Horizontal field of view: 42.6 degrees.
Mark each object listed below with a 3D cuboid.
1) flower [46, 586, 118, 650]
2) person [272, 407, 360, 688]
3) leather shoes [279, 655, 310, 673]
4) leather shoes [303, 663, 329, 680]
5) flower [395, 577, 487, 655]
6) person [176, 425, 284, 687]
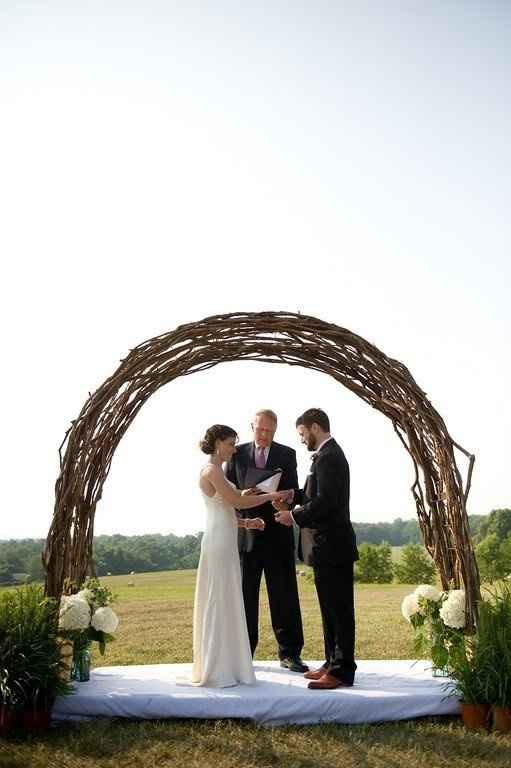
[{"bbox_3d":[-1.207,1.667,4.632,0.351,0.395,0.391,1,-39,11],"label":"flower"},{"bbox_3d":[0.505,1.117,4.708,0.445,1.946,0.447,-11,-18,24],"label":"person"},{"bbox_3d":[0.315,2.184,5.123,0.100,0.111,0.244,11,-24,-26],"label":"leather shoes"},{"bbox_3d":[0.484,2.077,4.754,0.245,0.098,0.081,4,-25,-27],"label":"leather shoes"},{"bbox_3d":[1.261,1.639,4.682,0.512,0.591,0.481,3,-19,-4],"label":"flower"},{"bbox_3d":[-0.260,1.200,4.753,0.579,1.809,0.363,-1,-16,-8],"label":"person"}]
